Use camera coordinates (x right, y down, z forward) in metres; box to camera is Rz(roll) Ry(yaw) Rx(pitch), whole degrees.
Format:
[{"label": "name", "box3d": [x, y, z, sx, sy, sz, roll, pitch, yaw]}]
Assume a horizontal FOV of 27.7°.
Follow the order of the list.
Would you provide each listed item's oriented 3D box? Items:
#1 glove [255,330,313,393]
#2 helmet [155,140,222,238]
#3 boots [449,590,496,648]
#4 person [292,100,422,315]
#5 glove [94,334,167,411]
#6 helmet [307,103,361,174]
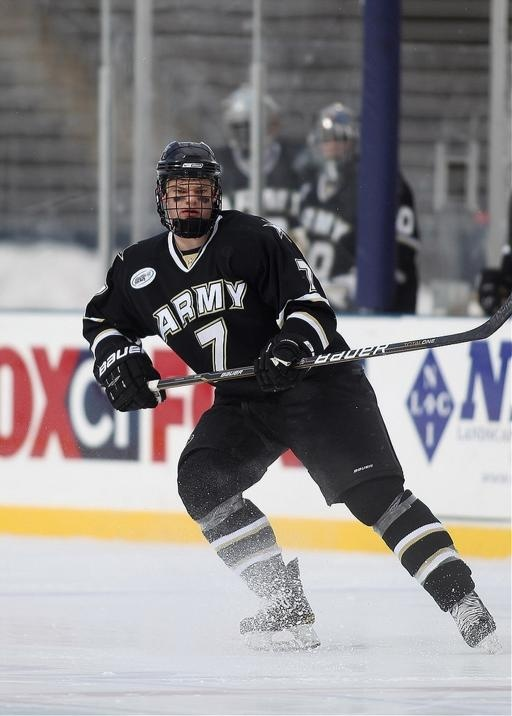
[{"label": "glove", "box3d": [0.063, 0.001, 2.340, 0.142, 0.064, 0.099, -19, 39, 44]}, {"label": "helmet", "box3d": [-0.165, -0.433, 2.582, 0.169, 0.196, 0.224, -1, 10, -14]}, {"label": "boots", "box3d": [0.484, 0.583, 2.330, 0.083, 0.051, 0.130, -36, 41, 0]}, {"label": "person", "box3d": [0.364, -0.677, 4.445, 0.223, 0.770, 0.880, -3, 22, -25]}, {"label": "glove", "box3d": [-0.331, 0.034, 2.576, 0.195, 0.146, 0.084, 29, 33, 23]}, {"label": "helmet", "box3d": [0.330, -0.942, 4.388, 0.208, 0.241, 0.092, -5, 8, 35]}]
